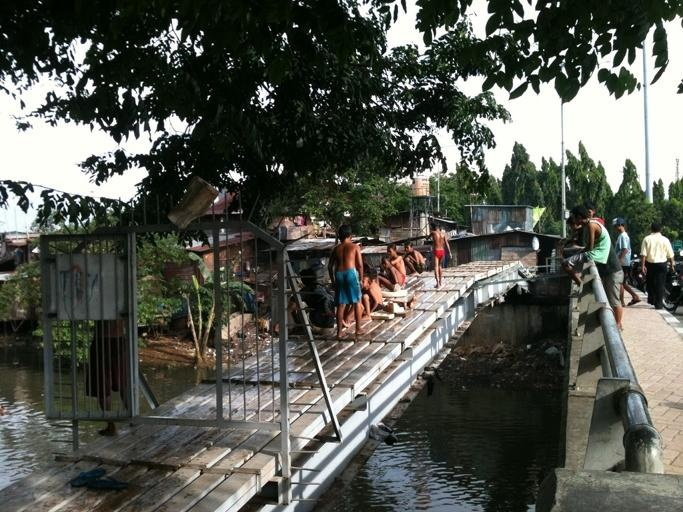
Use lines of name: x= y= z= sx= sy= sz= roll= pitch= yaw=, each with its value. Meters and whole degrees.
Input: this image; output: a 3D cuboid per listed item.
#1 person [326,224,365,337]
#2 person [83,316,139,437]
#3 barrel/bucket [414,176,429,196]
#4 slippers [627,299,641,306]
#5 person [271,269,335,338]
person: x=0.077 y=0.453 z=10.800 sx=0.562 sy=2.038 sz=1.312 roll=0 pitch=5 yaw=1
person: x=-2.779 y=1.389 z=7.361 sx=0.444 sy=1.394 sz=1.046 roll=-2 pitch=6 yaw=-24
barrel/bucket: x=4.652 y=-4.066 z=36.308 sx=0.910 sy=1.245 sz=2.499 roll=1 pitch=5 yaw=6
slippers: x=7.516 y=1.200 z=16.013 sx=0.316 sy=0.135 sz=0.115 roll=-11 pitch=1 yaw=-16
person: x=-0.528 y=0.734 z=9.271 sx=0.639 sy=1.025 sz=1.717 roll=13 pitch=-10 yaw=7
